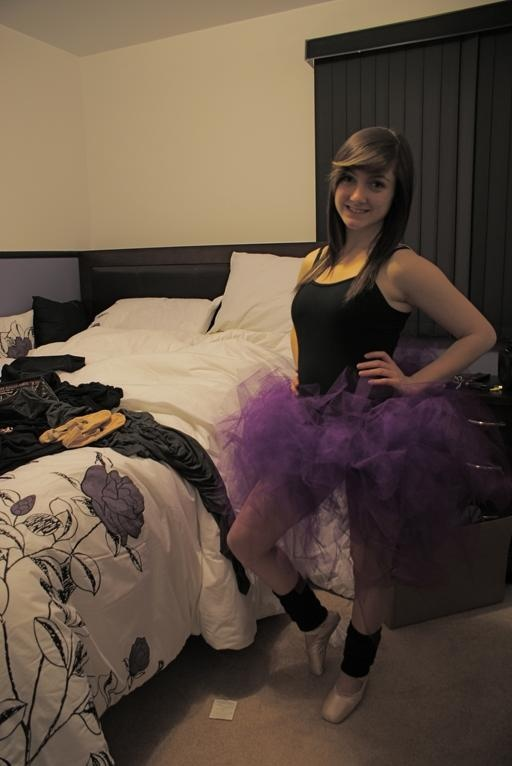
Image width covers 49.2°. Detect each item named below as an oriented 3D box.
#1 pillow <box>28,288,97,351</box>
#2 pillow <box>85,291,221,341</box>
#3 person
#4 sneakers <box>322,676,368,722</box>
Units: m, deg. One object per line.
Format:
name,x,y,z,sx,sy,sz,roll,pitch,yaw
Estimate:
pillow,-1.172,-0.375,3.325,0.145,0.302,0.420,1,18,32
pillow,-0.547,-0.388,3.189,0.433,0.121,0.399,3,29,14
person,0.250,0.136,1.290,0.511,1.391,0.464,4,10,38
sneakers,0.228,0.769,1.408,0.058,0.064,0.160,4,7,32
